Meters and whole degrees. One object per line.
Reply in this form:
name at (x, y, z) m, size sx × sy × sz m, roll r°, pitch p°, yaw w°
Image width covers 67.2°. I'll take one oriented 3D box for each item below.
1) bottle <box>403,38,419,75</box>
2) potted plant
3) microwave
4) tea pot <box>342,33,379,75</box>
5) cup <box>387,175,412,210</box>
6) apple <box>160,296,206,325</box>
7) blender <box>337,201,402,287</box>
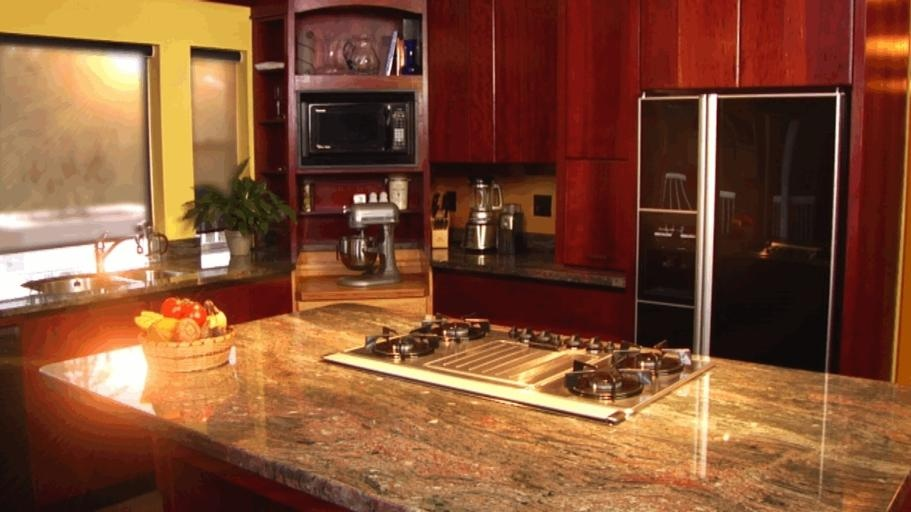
bottle at (-0.340, -1.558, 5.359) m, size 0.135 × 0.259 × 0.055 m, roll 1°, pitch 11°, yaw 0°
potted plant at (-1.708, -0.413, 5.566) m, size 0.943 × 0.729 × 0.633 m, roll 1°, pitch 11°, yaw 0°
microwave at (-0.773, -0.984, 5.516) m, size 0.900 × 0.466 × 0.582 m, roll -2°, pitch 1°, yaw -2°
tea pot at (-0.732, -1.553, 5.320) m, size 0.326 × 0.397 × 0.308 m, roll 0°, pitch 10°, yaw 0°
cup at (-0.466, -0.510, 5.561) m, size 0.219 × 0.262 × 0.208 m, roll 0°, pitch 6°, yaw 0°
apple at (-1.253, 0.228, 3.151) m, size 0.218 × 0.098 × 0.125 m, roll 16°, pitch -1°, yaw -6°
blender at (-0.628, -0.095, 5.076) m, size 0.429 × 0.607 × 0.225 m, roll -3°, pitch 11°, yaw -18°
